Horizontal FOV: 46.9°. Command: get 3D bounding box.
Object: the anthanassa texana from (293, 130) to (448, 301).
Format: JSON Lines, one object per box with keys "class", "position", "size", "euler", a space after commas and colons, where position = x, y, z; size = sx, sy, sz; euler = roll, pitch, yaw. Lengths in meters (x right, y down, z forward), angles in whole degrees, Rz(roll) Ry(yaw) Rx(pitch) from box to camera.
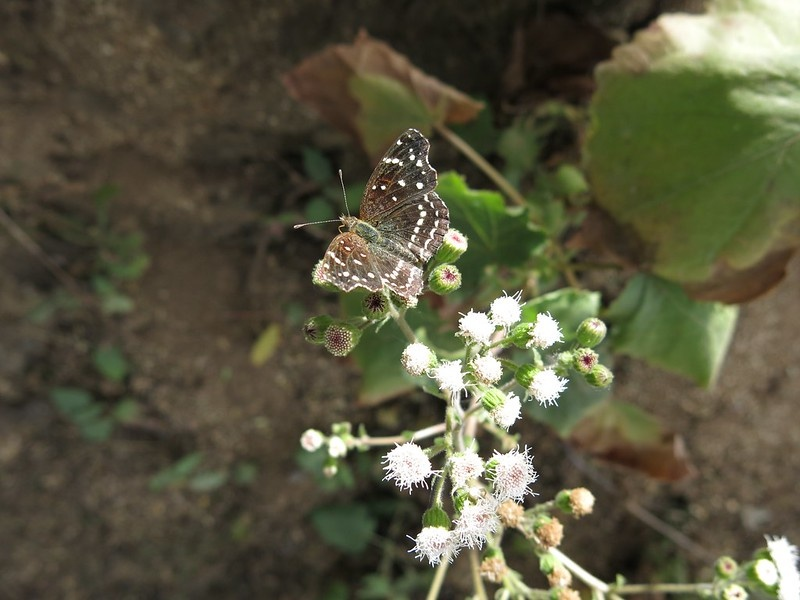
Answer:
{"class": "anthanassa texana", "position": [-0.109, -0.122, 2.712], "size": [0.383, 0.467, 0.192], "euler": [38, 91, -15]}
